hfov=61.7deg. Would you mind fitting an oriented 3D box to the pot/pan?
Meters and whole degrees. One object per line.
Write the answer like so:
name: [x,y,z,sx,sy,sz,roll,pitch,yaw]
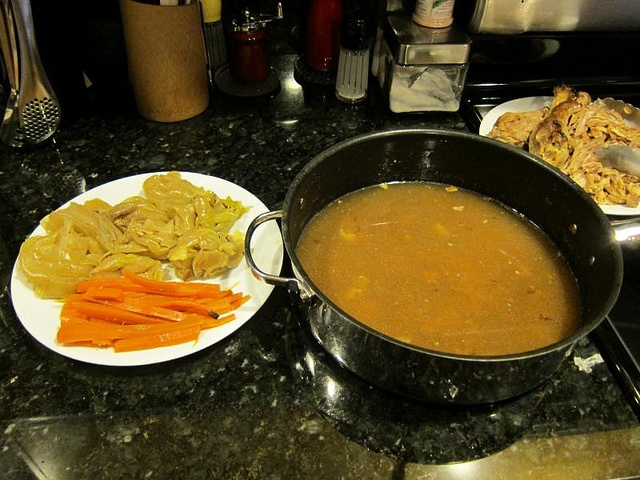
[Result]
pot/pan: [0.207,0.096,1.302,0.794,0.219,0.620,10,50,9]
